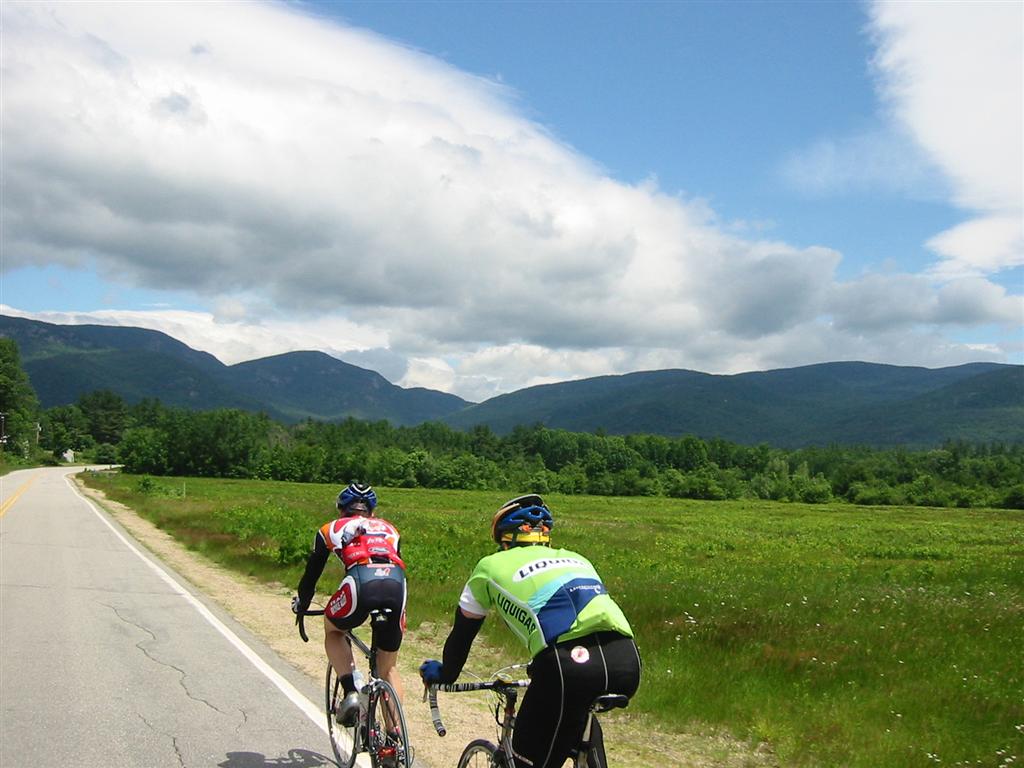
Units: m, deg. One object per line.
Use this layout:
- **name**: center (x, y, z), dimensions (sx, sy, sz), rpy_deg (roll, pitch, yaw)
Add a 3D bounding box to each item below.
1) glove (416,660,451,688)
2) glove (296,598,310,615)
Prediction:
- **glove**: center (-1.028, 3.893, 10.696), dimensions (0.259, 0.200, 0.446), rpy_deg (9, -20, 8)
- **glove**: center (-3.380, 3.642, 12.987), dimensions (0.209, 0.234, 0.206), rpy_deg (3, -1, 11)
